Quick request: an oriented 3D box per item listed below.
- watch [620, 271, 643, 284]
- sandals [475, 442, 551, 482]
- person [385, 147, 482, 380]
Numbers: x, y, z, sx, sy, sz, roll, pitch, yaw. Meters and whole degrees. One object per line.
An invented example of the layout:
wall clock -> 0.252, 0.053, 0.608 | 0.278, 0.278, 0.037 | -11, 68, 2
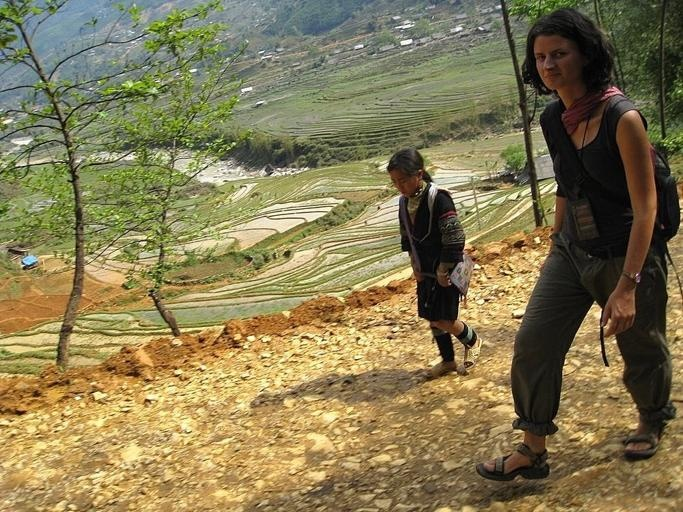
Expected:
watch -> 1.740, 0.128, 2.760 | 0.115, 0.042, 0.096 | 5, -2, 5
sandals -> 1.157, 1.451, 3.273 | 0.669, 0.195, 0.234 | 0, 1, 5
person -> 0.971, 0.093, 4.909 | 0.813, 2.640, 0.764 | -17, 22, 13
